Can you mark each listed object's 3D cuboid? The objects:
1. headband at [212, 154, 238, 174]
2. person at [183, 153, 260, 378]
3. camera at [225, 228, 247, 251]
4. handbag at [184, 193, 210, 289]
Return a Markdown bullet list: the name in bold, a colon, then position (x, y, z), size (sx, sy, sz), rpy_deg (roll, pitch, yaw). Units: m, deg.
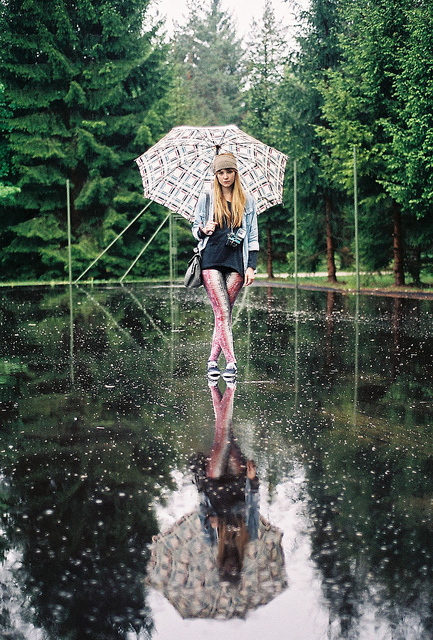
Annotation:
- **headband**: position (0.062, -1.304, 5.419), size (0.196, 0.143, 0.119), rpy_deg (-3, 6, 4)
- **person**: position (0.041, -0.425, 5.596), size (0.640, 1.947, 0.527), rpy_deg (-3, 6, 4)
- **camera**: position (0.160, -0.681, 5.427), size (0.155, 0.156, 0.060), rpy_deg (37, -3, -21)
- **handbag**: position (-0.171, -0.674, 5.568), size (0.263, 0.797, 0.311), rpy_deg (-4, 6, 2)
